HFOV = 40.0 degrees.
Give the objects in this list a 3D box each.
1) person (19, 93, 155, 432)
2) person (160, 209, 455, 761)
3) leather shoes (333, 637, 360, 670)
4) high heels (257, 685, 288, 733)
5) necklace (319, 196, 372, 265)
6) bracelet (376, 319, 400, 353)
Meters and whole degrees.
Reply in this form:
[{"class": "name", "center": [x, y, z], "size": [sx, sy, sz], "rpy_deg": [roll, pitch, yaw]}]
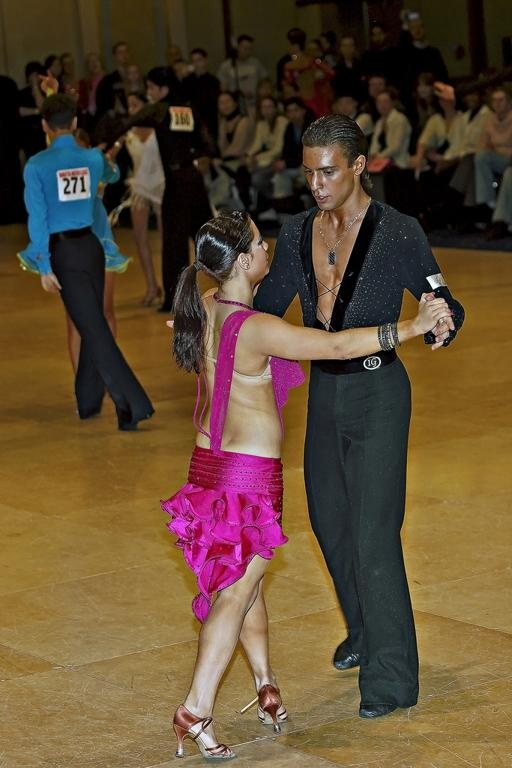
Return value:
[{"class": "person", "center": [-1.395, -0.922, 5.701], "size": [0.884, 2.562, 0.752], "rpy_deg": [-4, 1, -16]}, {"class": "person", "center": [0.063, 0.241, 1.743], "size": [0.612, 1.152, 0.477], "rpy_deg": [-4, 1, -7]}, {"class": "leather shoes", "center": [0.289, 0.861, 2.255], "size": [0.068, 0.044, 0.113], "rpy_deg": [-2, 12, 5]}, {"class": "high heels", "center": [0.038, 0.816, 1.793], "size": [0.055, 0.075, 0.165], "rpy_deg": [-14, 4, 1]}, {"class": "necklace", "center": [0.222, -0.406, 1.872], "size": [0.140, 0.156, 0.050], "rpy_deg": [3, 3, 6]}, {"class": "bracelet", "center": [0.306, -0.106, 1.616], "size": [0.047, 0.059, 0.052], "rpy_deg": [-8, 11, 15]}]
